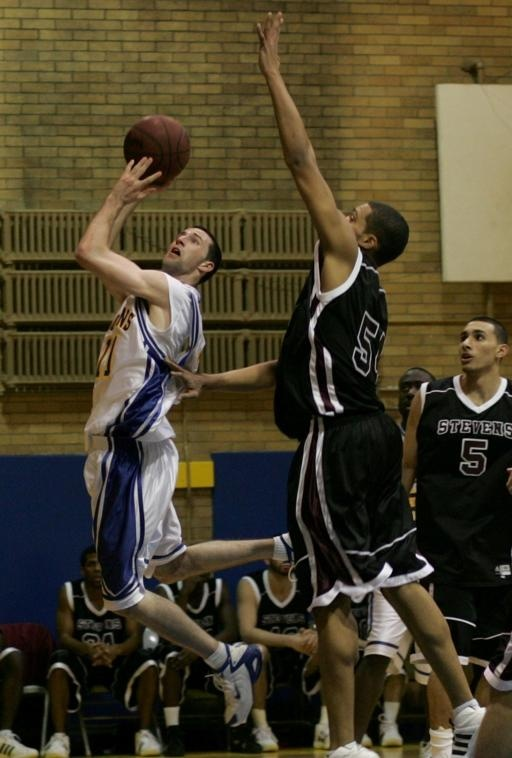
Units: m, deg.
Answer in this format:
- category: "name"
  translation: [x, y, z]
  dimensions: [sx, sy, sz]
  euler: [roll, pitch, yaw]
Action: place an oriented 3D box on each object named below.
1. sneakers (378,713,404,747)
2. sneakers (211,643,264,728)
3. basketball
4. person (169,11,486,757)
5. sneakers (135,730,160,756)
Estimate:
- category: "sneakers"
  translation: [0.692, 1.840, 7.043]
  dimensions: [0.112, 0.109, 0.300]
  euler: [1, -12, 0]
- category: "sneakers"
  translation: [-0.057, 1.289, 5.768]
  dimensions: [0.223, 0.410, 0.154]
  euler: [-9, 10, -23]
- category: "basketball"
  translation: [-0.385, -0.974, 5.855]
  dimensions: [0.340, 0.327, 0.303]
  euler: [0, -7, 1]
- category: "person"
  translation: [0.354, 0.018, 4.976]
  dimensions: [0.559, 2.771, 0.852]
  euler: [-4, 7, -41]
- category: "sneakers"
  translation: [-0.544, 1.844, 6.807]
  dimensions: [0.128, 0.107, 0.198]
  euler: [1, 5, -4]
